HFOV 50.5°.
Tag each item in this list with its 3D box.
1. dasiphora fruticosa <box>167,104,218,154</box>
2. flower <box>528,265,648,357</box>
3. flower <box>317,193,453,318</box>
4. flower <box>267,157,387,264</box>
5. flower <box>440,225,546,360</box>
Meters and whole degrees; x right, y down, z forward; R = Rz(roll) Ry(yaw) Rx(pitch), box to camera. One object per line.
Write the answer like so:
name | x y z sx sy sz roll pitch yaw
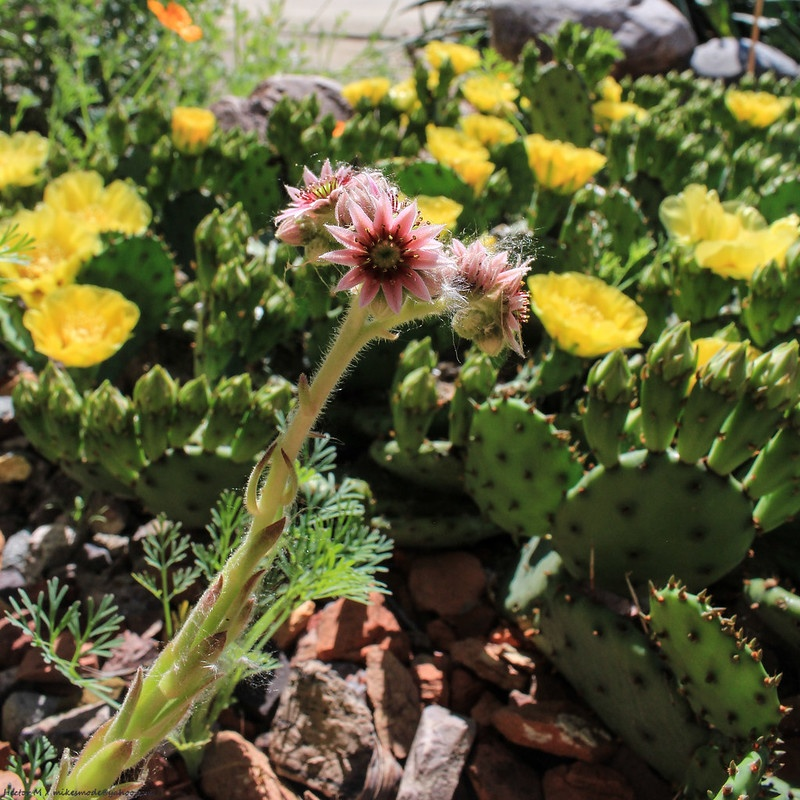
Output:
dasiphora fruticosa | -0.509 -0.664 2.084 0.117 0.106 0.106 -8 42 -36
flower | 0.359 -0.170 1.802 0.324 0.298 0.125 -5 79 -4
flower | -0.014 -0.185 1.029 0.151 0.137 0.046 -13 71 29
flower | -0.084 -0.240 1.094 0.141 0.071 0.148 36 52 28
flower | 0.125 -0.145 1.148 0.146 0.144 0.136 1 80 6
